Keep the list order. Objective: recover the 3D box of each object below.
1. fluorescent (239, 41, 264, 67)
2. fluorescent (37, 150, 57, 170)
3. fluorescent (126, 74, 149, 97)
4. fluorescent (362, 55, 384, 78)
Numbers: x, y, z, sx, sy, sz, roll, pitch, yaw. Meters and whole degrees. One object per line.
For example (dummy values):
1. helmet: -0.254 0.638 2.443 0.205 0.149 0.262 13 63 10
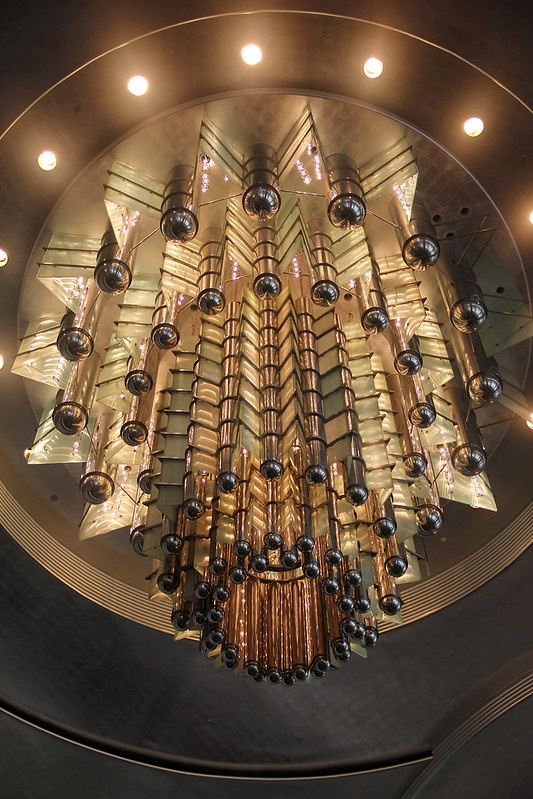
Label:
1. fluorescent: -0.103 -2.356 3.722 0.140 0.038 0.128 -13 -40 19
2. fluorescent: -1.586 -1.744 3.981 0.145 0.051 0.123 -18 -42 25
3. fluorescent: -0.879 -2.167 3.763 0.125 0.050 0.131 31 -46 -32
4. fluorescent: 0.727 -2.291 3.770 0.133 0.048 0.114 12 -38 -12
